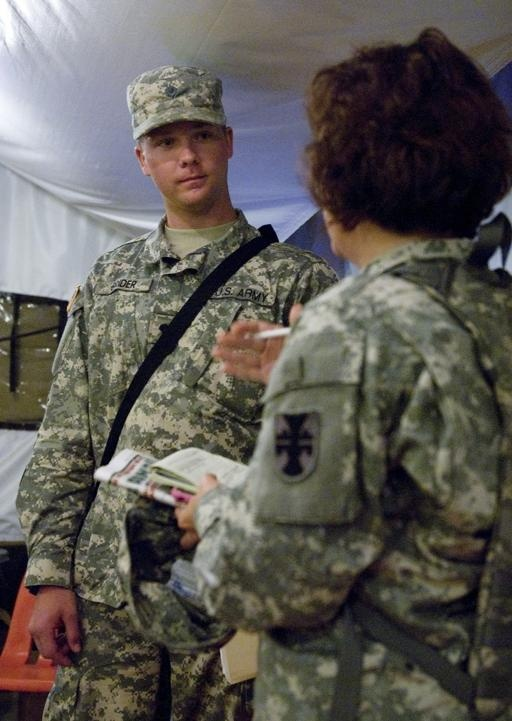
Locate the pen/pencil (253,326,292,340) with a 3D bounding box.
[{"bbox_3d":[0.032,-0.041,1.135,0.086,0.015,0.018,-3,18,26],"label":"pen/pencil"}]

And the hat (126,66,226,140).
[{"bbox_3d":[-0.264,-0.824,2.266,0.250,0.149,0.303,-7,-8,-2],"label":"hat"}]

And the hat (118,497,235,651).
[{"bbox_3d":[-0.196,0.380,1.247,0.240,0.285,0.129,18,-43,-42],"label":"hat"}]
